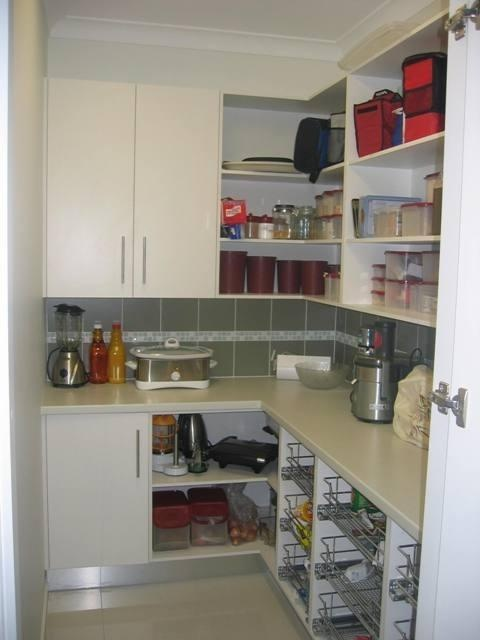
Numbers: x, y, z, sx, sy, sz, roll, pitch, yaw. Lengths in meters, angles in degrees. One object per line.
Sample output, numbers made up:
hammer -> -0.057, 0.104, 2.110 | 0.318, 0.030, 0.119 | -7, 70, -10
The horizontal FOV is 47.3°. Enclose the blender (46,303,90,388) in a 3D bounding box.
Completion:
blender -> -0.853, 0.116, 2.738 | 0.191, 0.435, 0.186 | 0, 12, -16

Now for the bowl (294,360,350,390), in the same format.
bowl -> 0.418, 0.263, 2.829 | 0.222, 0.129, 0.246 | 3, 8, -3

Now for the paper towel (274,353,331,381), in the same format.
paper towel -> 0.315, 0.243, 3.020 | 0.311, 0.130, 0.270 | 0, 10, -14

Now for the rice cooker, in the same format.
rice cooker -> -0.340, 0.227, 2.800 | 0.459, 0.255, 0.320 | -1, 0, -11

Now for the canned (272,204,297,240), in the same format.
canned -> 0.228, -0.505, 2.823 | 0.137, 0.168, 0.155 | 0, 2, -5

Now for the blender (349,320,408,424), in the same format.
blender -> 0.555, 0.209, 2.188 | 0.213, 0.394, 0.383 | 0, -3, 9
